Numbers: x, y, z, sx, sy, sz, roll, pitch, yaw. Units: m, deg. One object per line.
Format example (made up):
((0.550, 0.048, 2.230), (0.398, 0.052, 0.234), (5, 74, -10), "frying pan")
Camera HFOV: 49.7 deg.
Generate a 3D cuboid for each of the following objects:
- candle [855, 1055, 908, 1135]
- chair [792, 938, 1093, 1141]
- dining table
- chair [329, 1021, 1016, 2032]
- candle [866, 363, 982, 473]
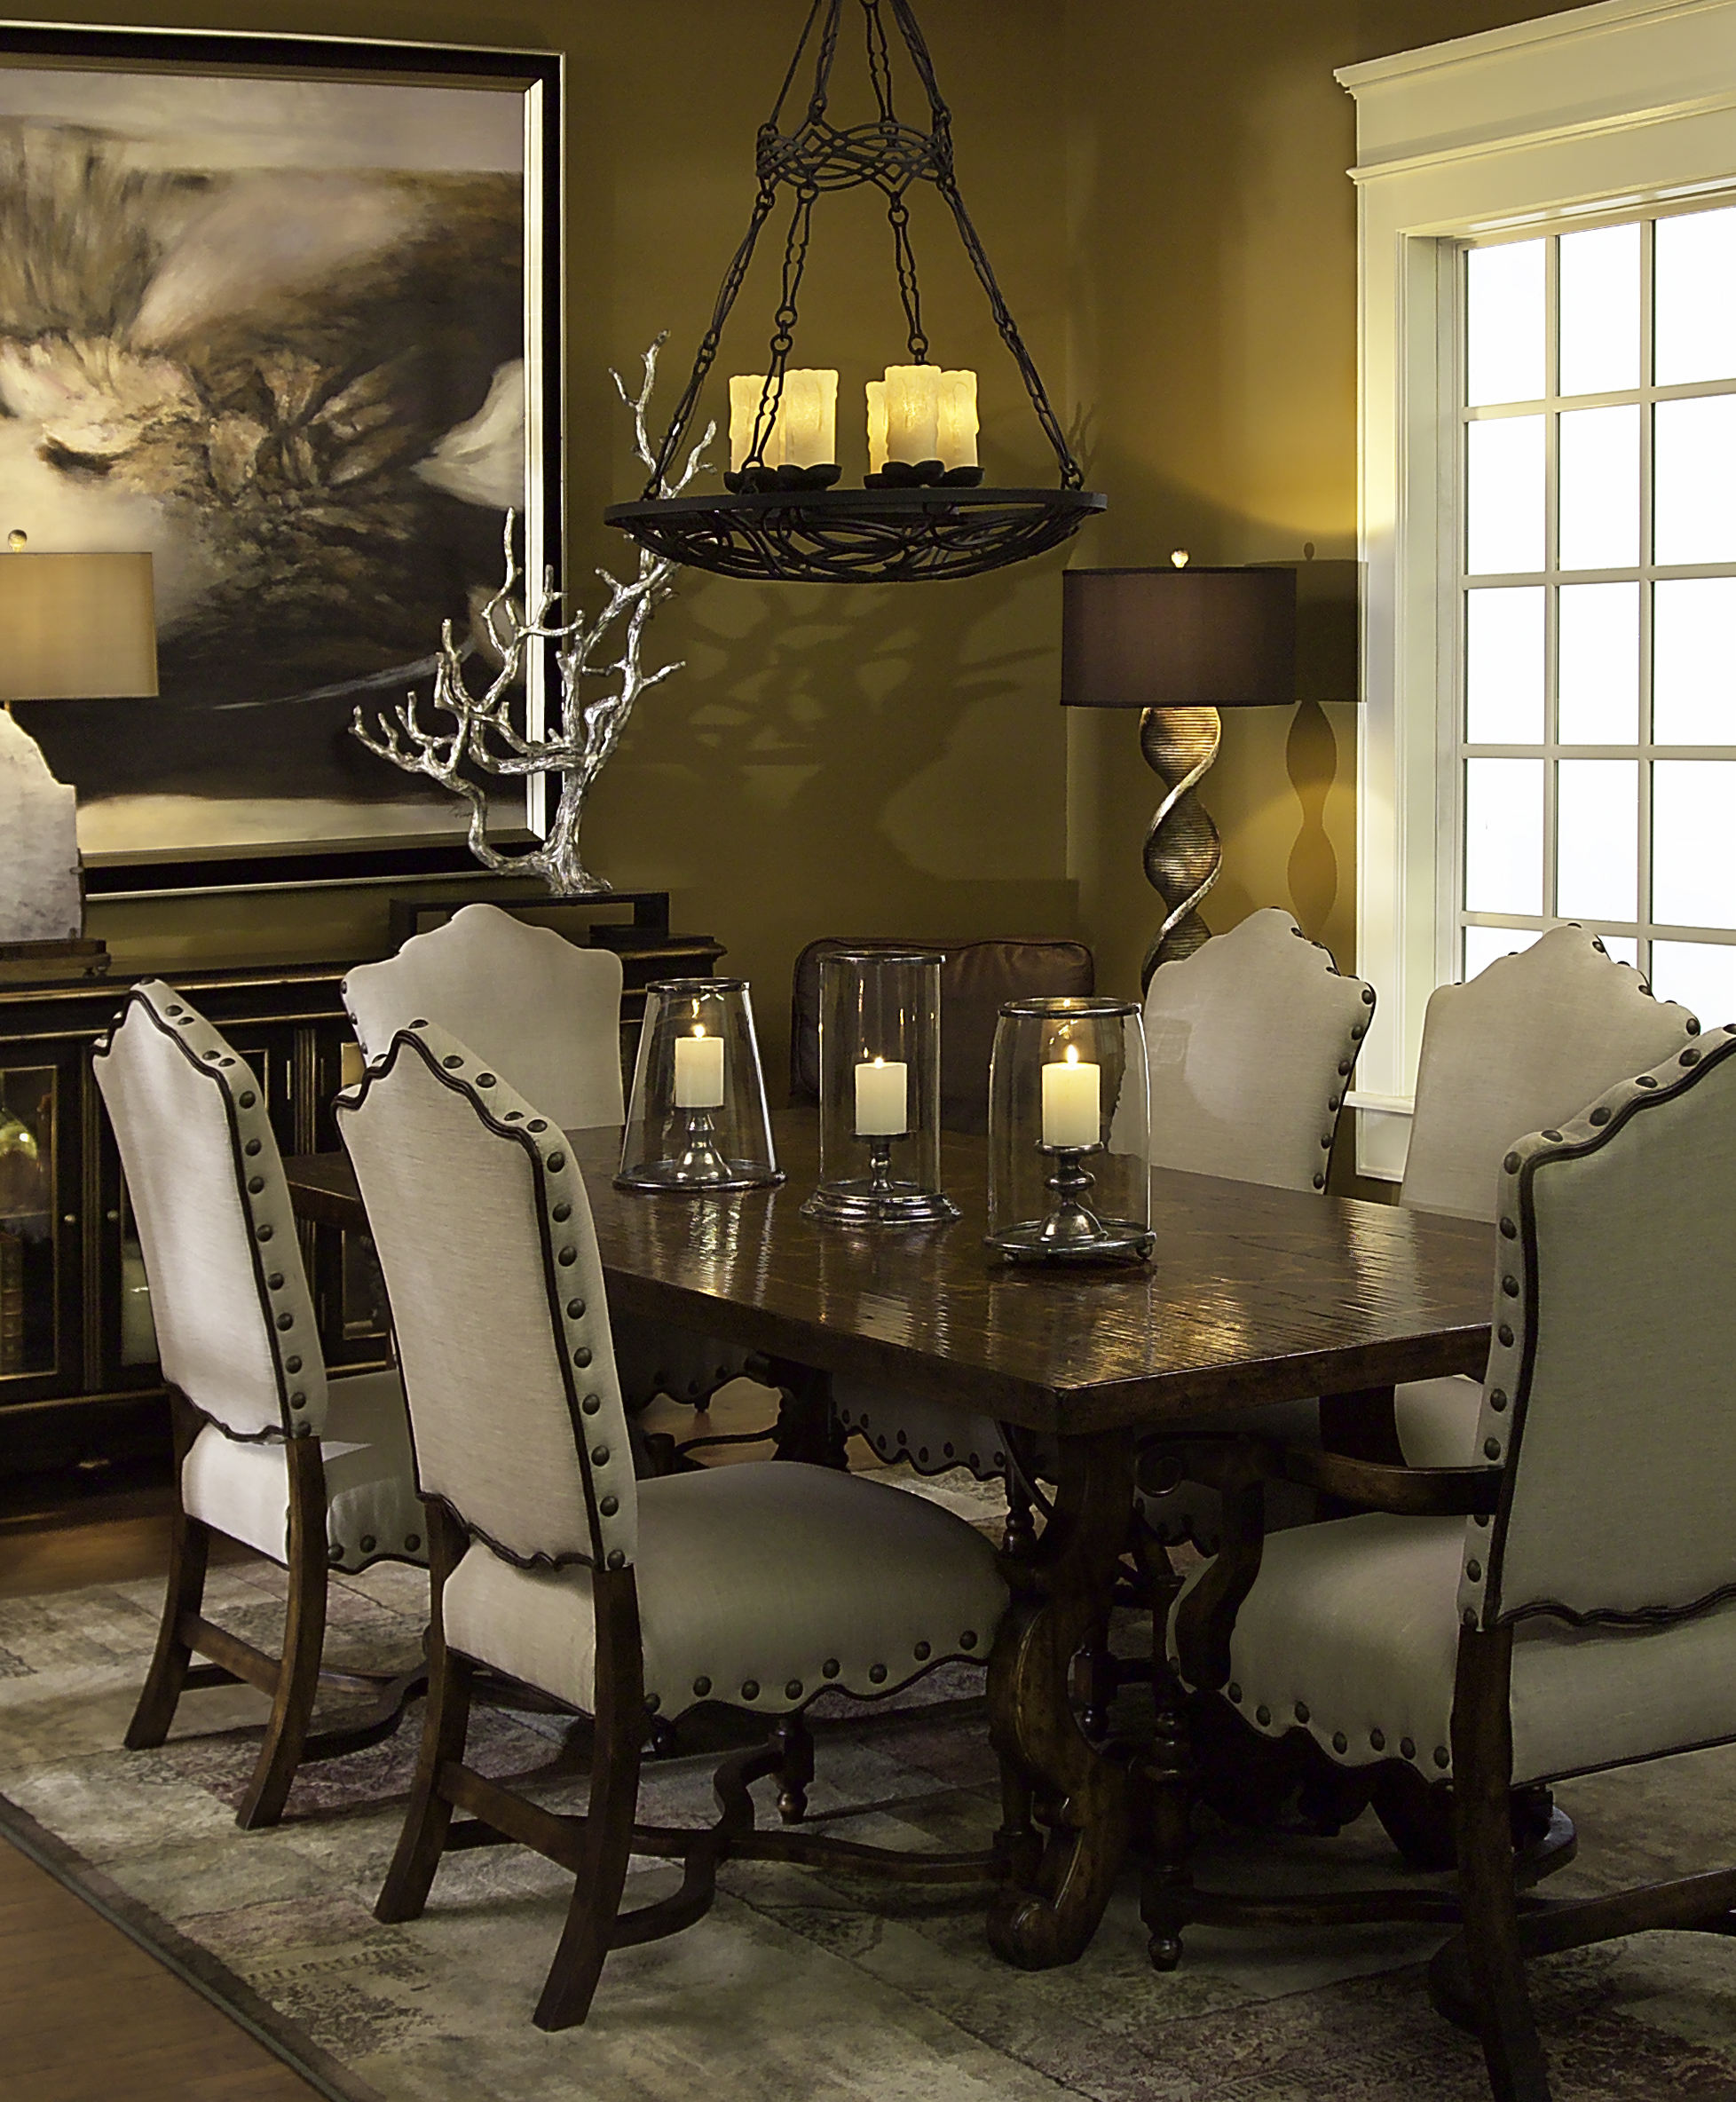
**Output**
((0.015, 0.057, 2.208), (0.089, 0.086, 0.082), (1, 2, -1), "candle")
((0.194, -0.128, 4.767), (0.858, 0.517, 0.485), (1, 0, 30), "chair")
((-0.012, 0.478, 1.829), (1.010, 0.423, 0.528), (0, -1, 39), "dining table")
((-0.273, 0.382, 2.291), (0.941, 1.285, 0.761), (-3, 6, -29), "chair")
((0.061, -0.686, 2.068), (0.109, 0.123, 0.126), (-2, -5, 8), "candle")
